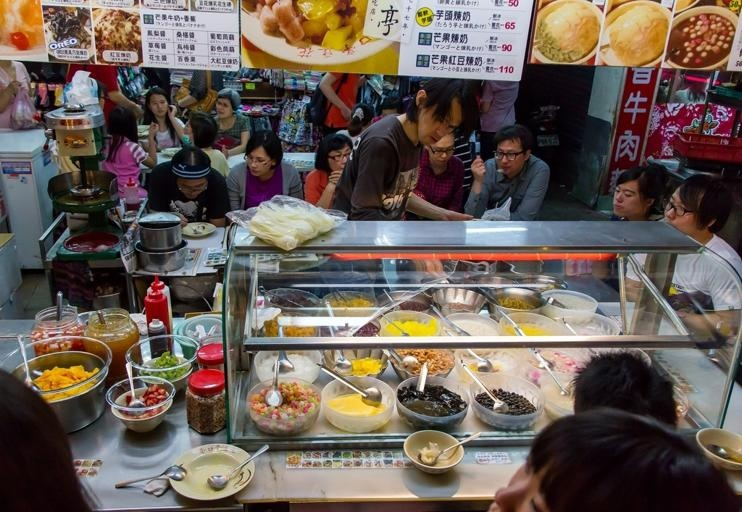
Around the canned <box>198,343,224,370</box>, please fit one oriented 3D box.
[{"bbox_3d":[-0.817,0.479,2.513,0.151,0.102,0.145,1,18,-26],"label":"canned"}]

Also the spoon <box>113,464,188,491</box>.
[{"bbox_3d":[-0.927,0.961,2.148,0.325,0.043,0.093,-12,38,-3],"label":"spoon"}]

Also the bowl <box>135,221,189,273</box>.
[{"bbox_3d":[-1.556,-0.068,3.853,0.404,0.330,0.378,1,20,0],"label":"bowl"}]

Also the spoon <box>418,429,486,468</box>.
[{"bbox_3d":[0.381,0.859,2.322,0.397,0.054,0.088,-10,47,-44],"label":"spoon"}]

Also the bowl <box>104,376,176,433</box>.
[{"bbox_3d":[-1.088,0.682,2.346,0.273,0.143,0.259,1,19,0],"label":"bowl"}]

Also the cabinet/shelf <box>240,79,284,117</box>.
[{"bbox_3d":[-1.788,-2.620,8.089,0.724,0.599,0.372,3,44,7],"label":"cabinet/shelf"}]

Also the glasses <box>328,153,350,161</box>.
[{"bbox_3d":[-0.305,-0.915,4.669,0.200,0.080,0.136,-2,20,-7],"label":"glasses"}]

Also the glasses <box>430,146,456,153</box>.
[{"bbox_3d":[0.602,-0.906,4.265,0.199,0.068,0.197,1,20,1],"label":"glasses"}]

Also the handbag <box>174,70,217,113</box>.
[{"bbox_3d":[-2.570,-2.367,7.218,0.596,0.550,0.595,1,20,1],"label":"handbag"}]

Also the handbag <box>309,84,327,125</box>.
[{"bbox_3d":[-0.711,-2.004,6.710,0.170,0.510,0.410,-7,22,-19],"label":"handbag"}]

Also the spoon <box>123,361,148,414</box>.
[{"bbox_3d":[-1.117,0.635,2.380,0.071,0.043,0.282,-6,59,-29],"label":"spoon"}]

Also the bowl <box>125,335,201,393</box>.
[{"bbox_3d":[-1.069,0.522,2.573,0.309,0.182,0.294,2,20,-1],"label":"bowl"}]

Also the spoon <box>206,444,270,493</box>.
[{"bbox_3d":[-0.573,0.909,2.193,0.083,0.045,0.315,23,45,32],"label":"spoon"}]

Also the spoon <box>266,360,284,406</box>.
[{"bbox_3d":[-0.445,0.578,2.326,0.073,0.299,0.045,8,27,-7],"label":"spoon"}]
